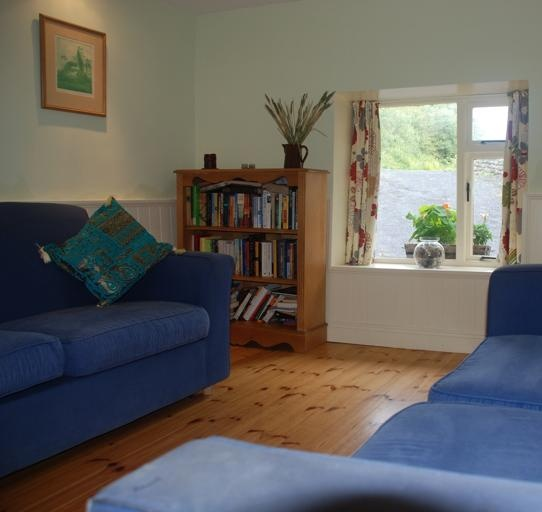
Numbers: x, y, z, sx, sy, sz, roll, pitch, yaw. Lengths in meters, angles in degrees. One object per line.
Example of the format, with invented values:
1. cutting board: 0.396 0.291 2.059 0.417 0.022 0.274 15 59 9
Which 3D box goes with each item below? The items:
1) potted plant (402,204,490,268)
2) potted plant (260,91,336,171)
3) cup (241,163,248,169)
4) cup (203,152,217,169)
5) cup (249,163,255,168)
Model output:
1. potted plant: 1.553 -0.141 4.023 0.602 0.423 0.471 1 4 21
2. potted plant: 0.179 -0.976 3.645 0.521 0.583 0.522 -1 4 -26
3. cup: -0.196 -0.699 3.613 0.051 0.053 0.156 -1 5 -5
4. cup: -0.523 -0.802 3.883 0.129 0.154 0.115 -2 9 -16
5. cup: -0.146 -0.706 3.655 0.065 0.040 0.064 1 6 0
